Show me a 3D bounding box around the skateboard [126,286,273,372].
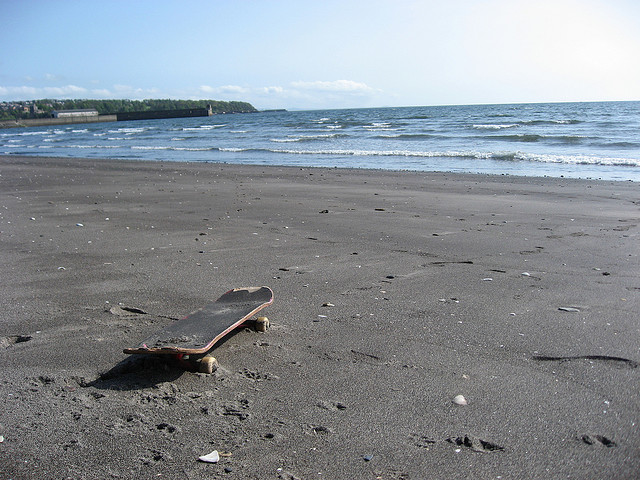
[{"bbox_3d":[-0.832,0.650,4.372,0.456,0.175,1.105,4,13,20],"label":"skateboard"}]
